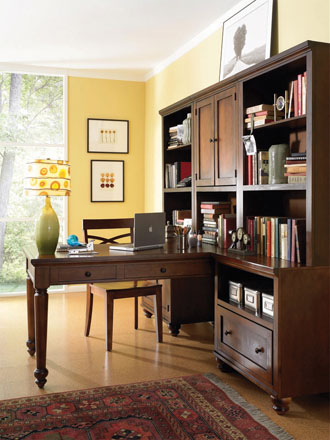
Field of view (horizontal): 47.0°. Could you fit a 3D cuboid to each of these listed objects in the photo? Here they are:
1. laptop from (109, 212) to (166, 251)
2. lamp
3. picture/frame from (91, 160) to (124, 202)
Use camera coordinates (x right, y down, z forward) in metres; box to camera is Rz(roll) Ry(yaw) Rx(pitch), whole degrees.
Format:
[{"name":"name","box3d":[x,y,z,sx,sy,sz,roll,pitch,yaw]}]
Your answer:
[{"name":"laptop","box3d":[-0.171,-0.014,2.424,0.227,0.297,0.329,5,5,33]},{"name":"lamp","box3d":[-0.694,-0.088,2.252,0.260,0.575,0.303,0,-1,-21]},{"name":"picture/frame","box3d":[-0.770,-0.511,4.848,0.479,0.683,0.042,0,-2,-28]}]
